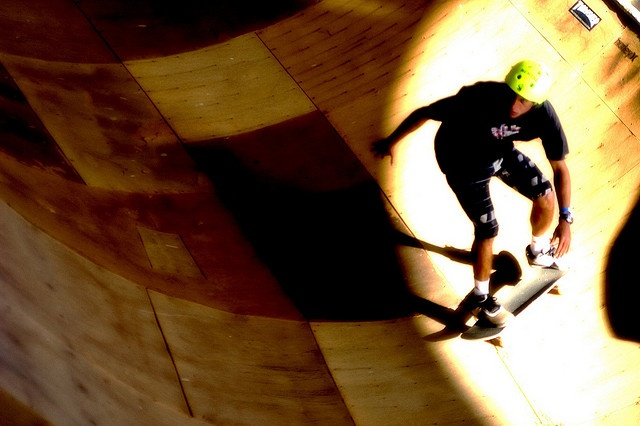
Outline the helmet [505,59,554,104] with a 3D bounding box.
[{"bbox_3d":[2.523,-1.546,9.377,0.458,0.436,0.588,34,-6,35],"label":"helmet"}]
